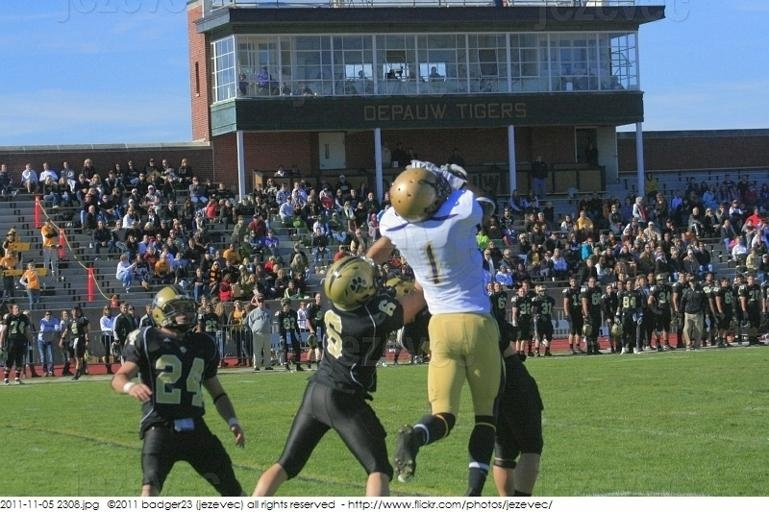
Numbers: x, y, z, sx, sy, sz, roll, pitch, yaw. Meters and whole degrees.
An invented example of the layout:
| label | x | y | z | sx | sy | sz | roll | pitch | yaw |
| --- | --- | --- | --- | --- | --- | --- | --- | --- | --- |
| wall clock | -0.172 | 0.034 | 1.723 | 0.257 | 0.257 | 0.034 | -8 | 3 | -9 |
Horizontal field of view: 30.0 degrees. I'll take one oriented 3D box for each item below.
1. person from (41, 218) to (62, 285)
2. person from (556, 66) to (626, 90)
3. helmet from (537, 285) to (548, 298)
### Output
| label | x | y | z | sx | sy | sz | roll | pitch | yaw |
| --- | --- | --- | --- | --- | --- | --- | --- | --- | --- |
| person | -10.292 | -0.155 | 44.400 | 0.522 | 1.688 | 1.111 | -2 | 1 | -14 |
| person | 7.718 | -6.717 | 54.219 | 2.563 | 0.618 | 0.321 | -2 | 1 | -14 |
| helmet | 4.468 | 0.965 | 40.268 | 0.213 | 0.261 | 0.267 | -4 | -2 | 9 |
